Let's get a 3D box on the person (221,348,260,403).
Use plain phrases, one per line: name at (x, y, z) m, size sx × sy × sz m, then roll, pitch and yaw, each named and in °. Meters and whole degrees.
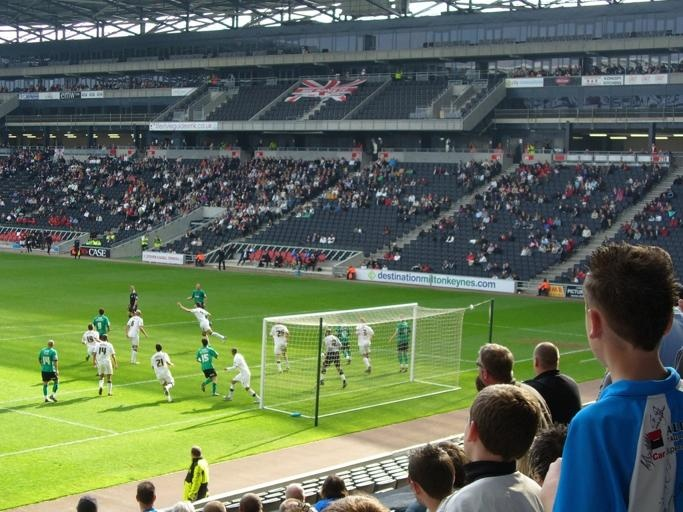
person at (-4.381, 5.252, 55.993) m, size 1.424 × 2.495 × 1.135 m, roll 0°, pitch 0°, yaw -3°
